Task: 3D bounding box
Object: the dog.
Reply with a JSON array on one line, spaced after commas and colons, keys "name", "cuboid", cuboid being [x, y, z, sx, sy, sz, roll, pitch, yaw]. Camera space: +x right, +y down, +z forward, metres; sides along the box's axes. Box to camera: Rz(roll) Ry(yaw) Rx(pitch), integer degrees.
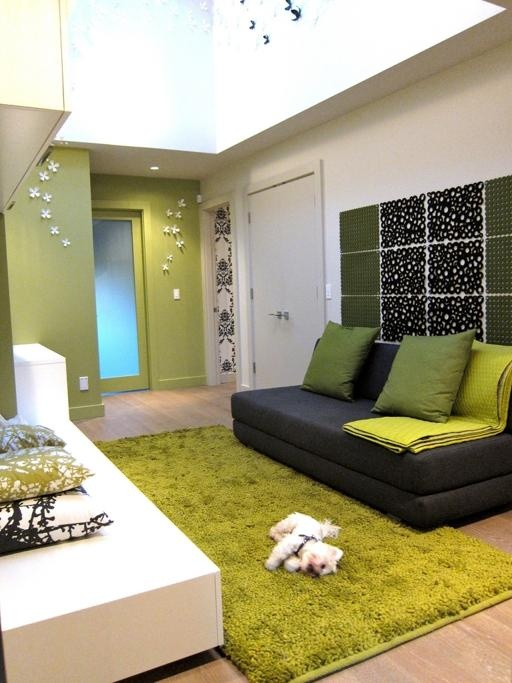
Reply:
[{"name": "dog", "cuboid": [0.202, 0.772, 2.010, 0.293, 0.154, 0.398, 12, 12, 16]}]
